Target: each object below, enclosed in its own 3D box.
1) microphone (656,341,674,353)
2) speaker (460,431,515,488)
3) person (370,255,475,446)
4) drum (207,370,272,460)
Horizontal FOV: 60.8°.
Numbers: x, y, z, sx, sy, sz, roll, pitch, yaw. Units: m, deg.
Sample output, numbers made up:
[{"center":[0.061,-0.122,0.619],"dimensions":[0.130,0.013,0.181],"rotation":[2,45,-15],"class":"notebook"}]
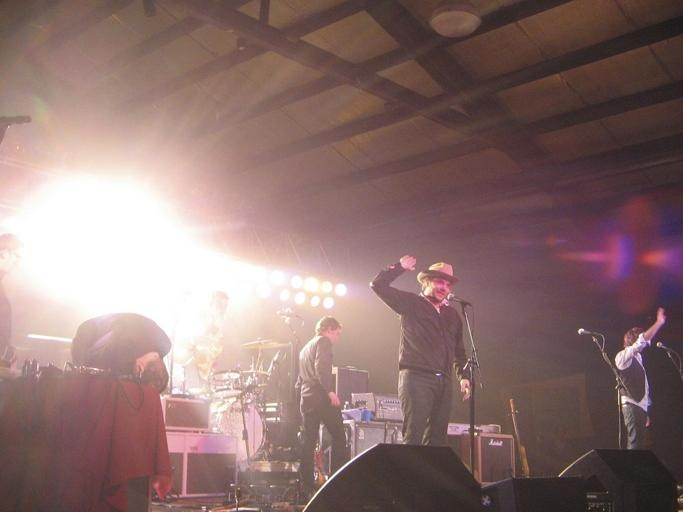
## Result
[{"center":[4.942,1.391,8.894],"dimensions":[0.105,0.108,0.247],"rotation":[59,-7,-31],"class":"microphone"},{"center":[2.452,3.088,8.791],"dimensions":[0.400,0.748,0.729],"rotation":[19,-21,-29],"class":"speaker"},{"center":[0.863,0.930,5.992],"dimensions":[1.138,1.935,0.534],"rotation":[14,-18,-26],"class":"person"},{"center":[-1.698,2.666,9.837],"dimensions":[1.166,1.428,1.218],"rotation":[-9,-12,37],"class":"drum"}]
